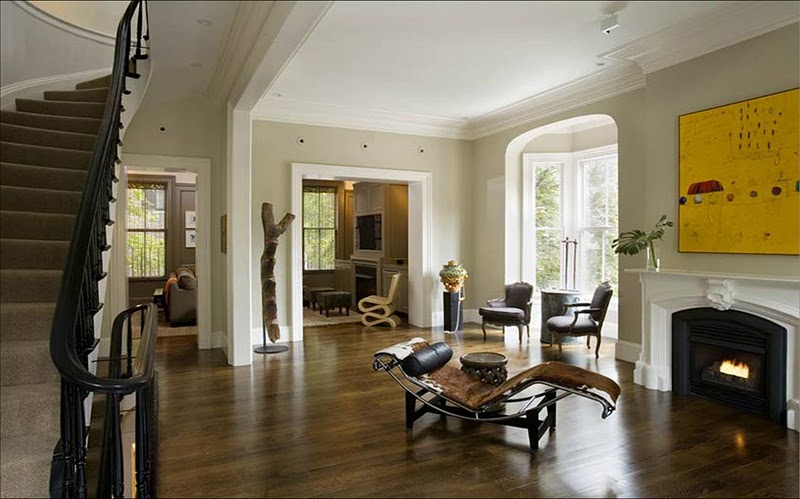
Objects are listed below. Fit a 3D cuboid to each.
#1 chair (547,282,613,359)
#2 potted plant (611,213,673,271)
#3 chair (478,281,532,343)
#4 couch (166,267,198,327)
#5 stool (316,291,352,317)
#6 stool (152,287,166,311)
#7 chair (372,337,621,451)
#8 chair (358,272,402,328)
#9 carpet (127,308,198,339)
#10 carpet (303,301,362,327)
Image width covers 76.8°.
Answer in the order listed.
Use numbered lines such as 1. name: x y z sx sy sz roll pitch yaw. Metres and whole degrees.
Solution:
1. chair: 3.095 1.151 8.503 1.324 1.453 1.094 1 -1 1
2. potted plant: 3.413 -0.132 7.059 0.687 0.739 0.969 5 11 26
3. chair: 2.018 1.102 9.172 0.807 0.976 0.885 1 -1 40
4. couch: -4.621 0.960 11.074 0.826 1.011 2.556 0 2 -24
5. stool: -1.448 1.195 11.245 0.681 0.477 0.641 0 3 -9
6. stool: -5.012 1.031 10.532 0.276 0.348 0.762 -2 6 -18
7. chair: 1.022 1.521 5.695 2.826 0.843 1.180 0 2 25
8. chair: -0.399 1.038 10.351 0.843 0.956 0.713 1 0 19
9. carpet: -4.677 1.463 10.028 1.073 0.353 2.040 -5 11 -27
10. carpet: -1.475 1.483 10.986 1.211 0.241 1.768 -2 10 -10
